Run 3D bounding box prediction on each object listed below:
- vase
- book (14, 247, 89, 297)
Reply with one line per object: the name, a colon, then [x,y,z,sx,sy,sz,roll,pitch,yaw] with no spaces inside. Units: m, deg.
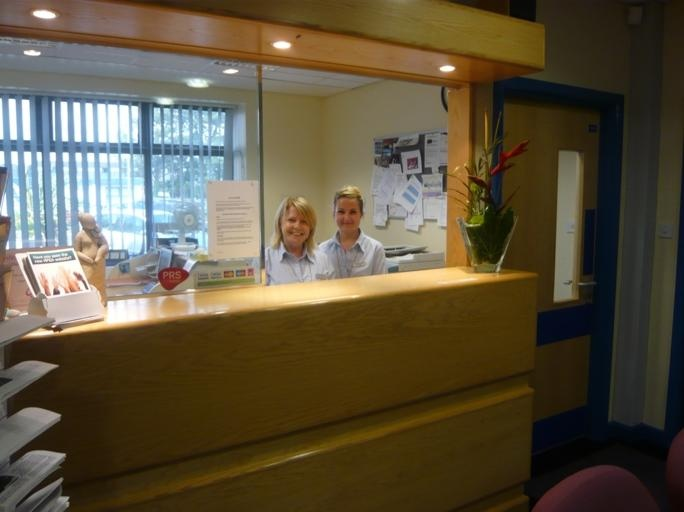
vase: [0.618,-0.067,2.209,0.231,0.249,0.243,-1,2,-32]
book: [-0.833,0.043,1.436,0.167,0.131,0.113,-12,12,-35]
